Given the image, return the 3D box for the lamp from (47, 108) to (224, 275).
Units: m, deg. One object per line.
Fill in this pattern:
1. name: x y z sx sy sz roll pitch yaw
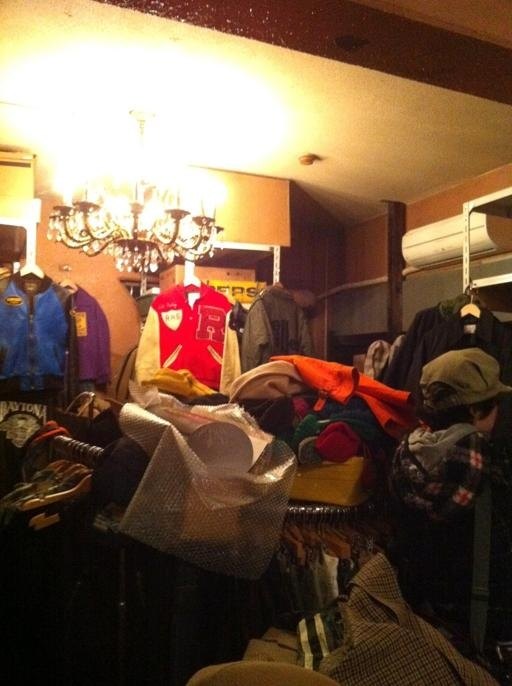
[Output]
1. lamp: -0.308 -0.419 1.575 0.421 0.491 0.424 3 0 34

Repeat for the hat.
1. hat: 0.285 0.050 0.792 0.115 0.059 0.080 -13 6 -16

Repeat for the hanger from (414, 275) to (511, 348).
1. hanger: 0.590 -0.088 1.605 0.342 0.228 0.081 -5 -4 11
